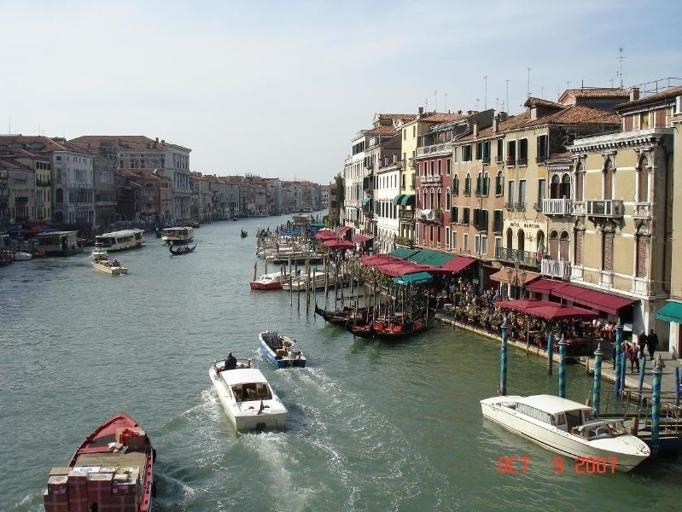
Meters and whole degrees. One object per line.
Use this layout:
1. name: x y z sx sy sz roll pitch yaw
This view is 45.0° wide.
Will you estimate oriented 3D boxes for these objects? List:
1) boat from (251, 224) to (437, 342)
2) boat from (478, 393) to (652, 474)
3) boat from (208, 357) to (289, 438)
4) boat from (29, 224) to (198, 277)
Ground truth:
1. boat: 0.340 3.180 77.163 13.367 7.411 33.663 -4 15 -15
2. boat: 11.557 9.257 43.539 2.769 2.153 8.509 -2 9 -30
3. boat: -5.409 7.965 47.276 2.777 1.944 6.659 -6 15 -20
4. boat: -34.052 -0.864 128.761 6.845 8.102 41.883 6 12 11
